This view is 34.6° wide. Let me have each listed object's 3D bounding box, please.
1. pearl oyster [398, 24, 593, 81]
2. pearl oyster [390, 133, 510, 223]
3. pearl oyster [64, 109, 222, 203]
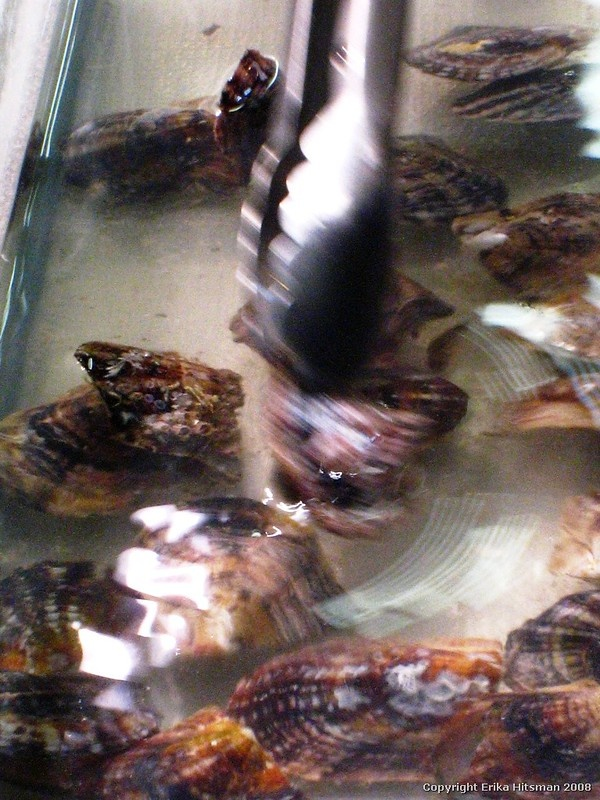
[{"bbox_3d":[0.362,-0.620,1.777,0.254,0.032,0.118,-4,68,17],"label":"pearl oyster"},{"bbox_3d":[0.247,-0.382,1.683,0.197,0.047,0.129,34,78,10],"label":"pearl oyster"},{"bbox_3d":[-0.293,-0.467,1.801,0.295,0.170,0.101,8,31,3],"label":"pearl oyster"}]
